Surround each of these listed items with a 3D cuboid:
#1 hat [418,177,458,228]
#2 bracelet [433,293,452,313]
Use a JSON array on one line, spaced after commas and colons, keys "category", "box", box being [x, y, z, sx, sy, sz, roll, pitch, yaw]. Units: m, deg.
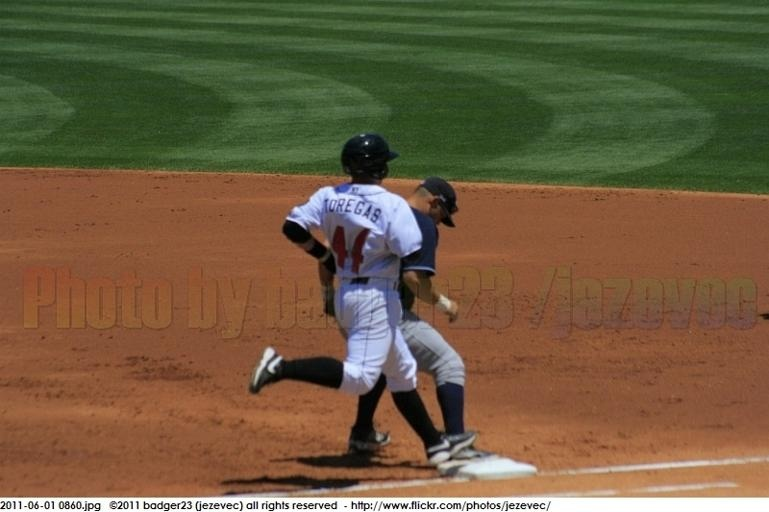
[{"category": "hat", "box": [0.938, -0.939, 25.734, 0.881, 0.443, 0.582, 37, 2, -19]}, {"category": "bracelet", "box": [0.960, 0.773, 25.513, 0.204, 0.127, 0.321, 47, 12, 17]}]
